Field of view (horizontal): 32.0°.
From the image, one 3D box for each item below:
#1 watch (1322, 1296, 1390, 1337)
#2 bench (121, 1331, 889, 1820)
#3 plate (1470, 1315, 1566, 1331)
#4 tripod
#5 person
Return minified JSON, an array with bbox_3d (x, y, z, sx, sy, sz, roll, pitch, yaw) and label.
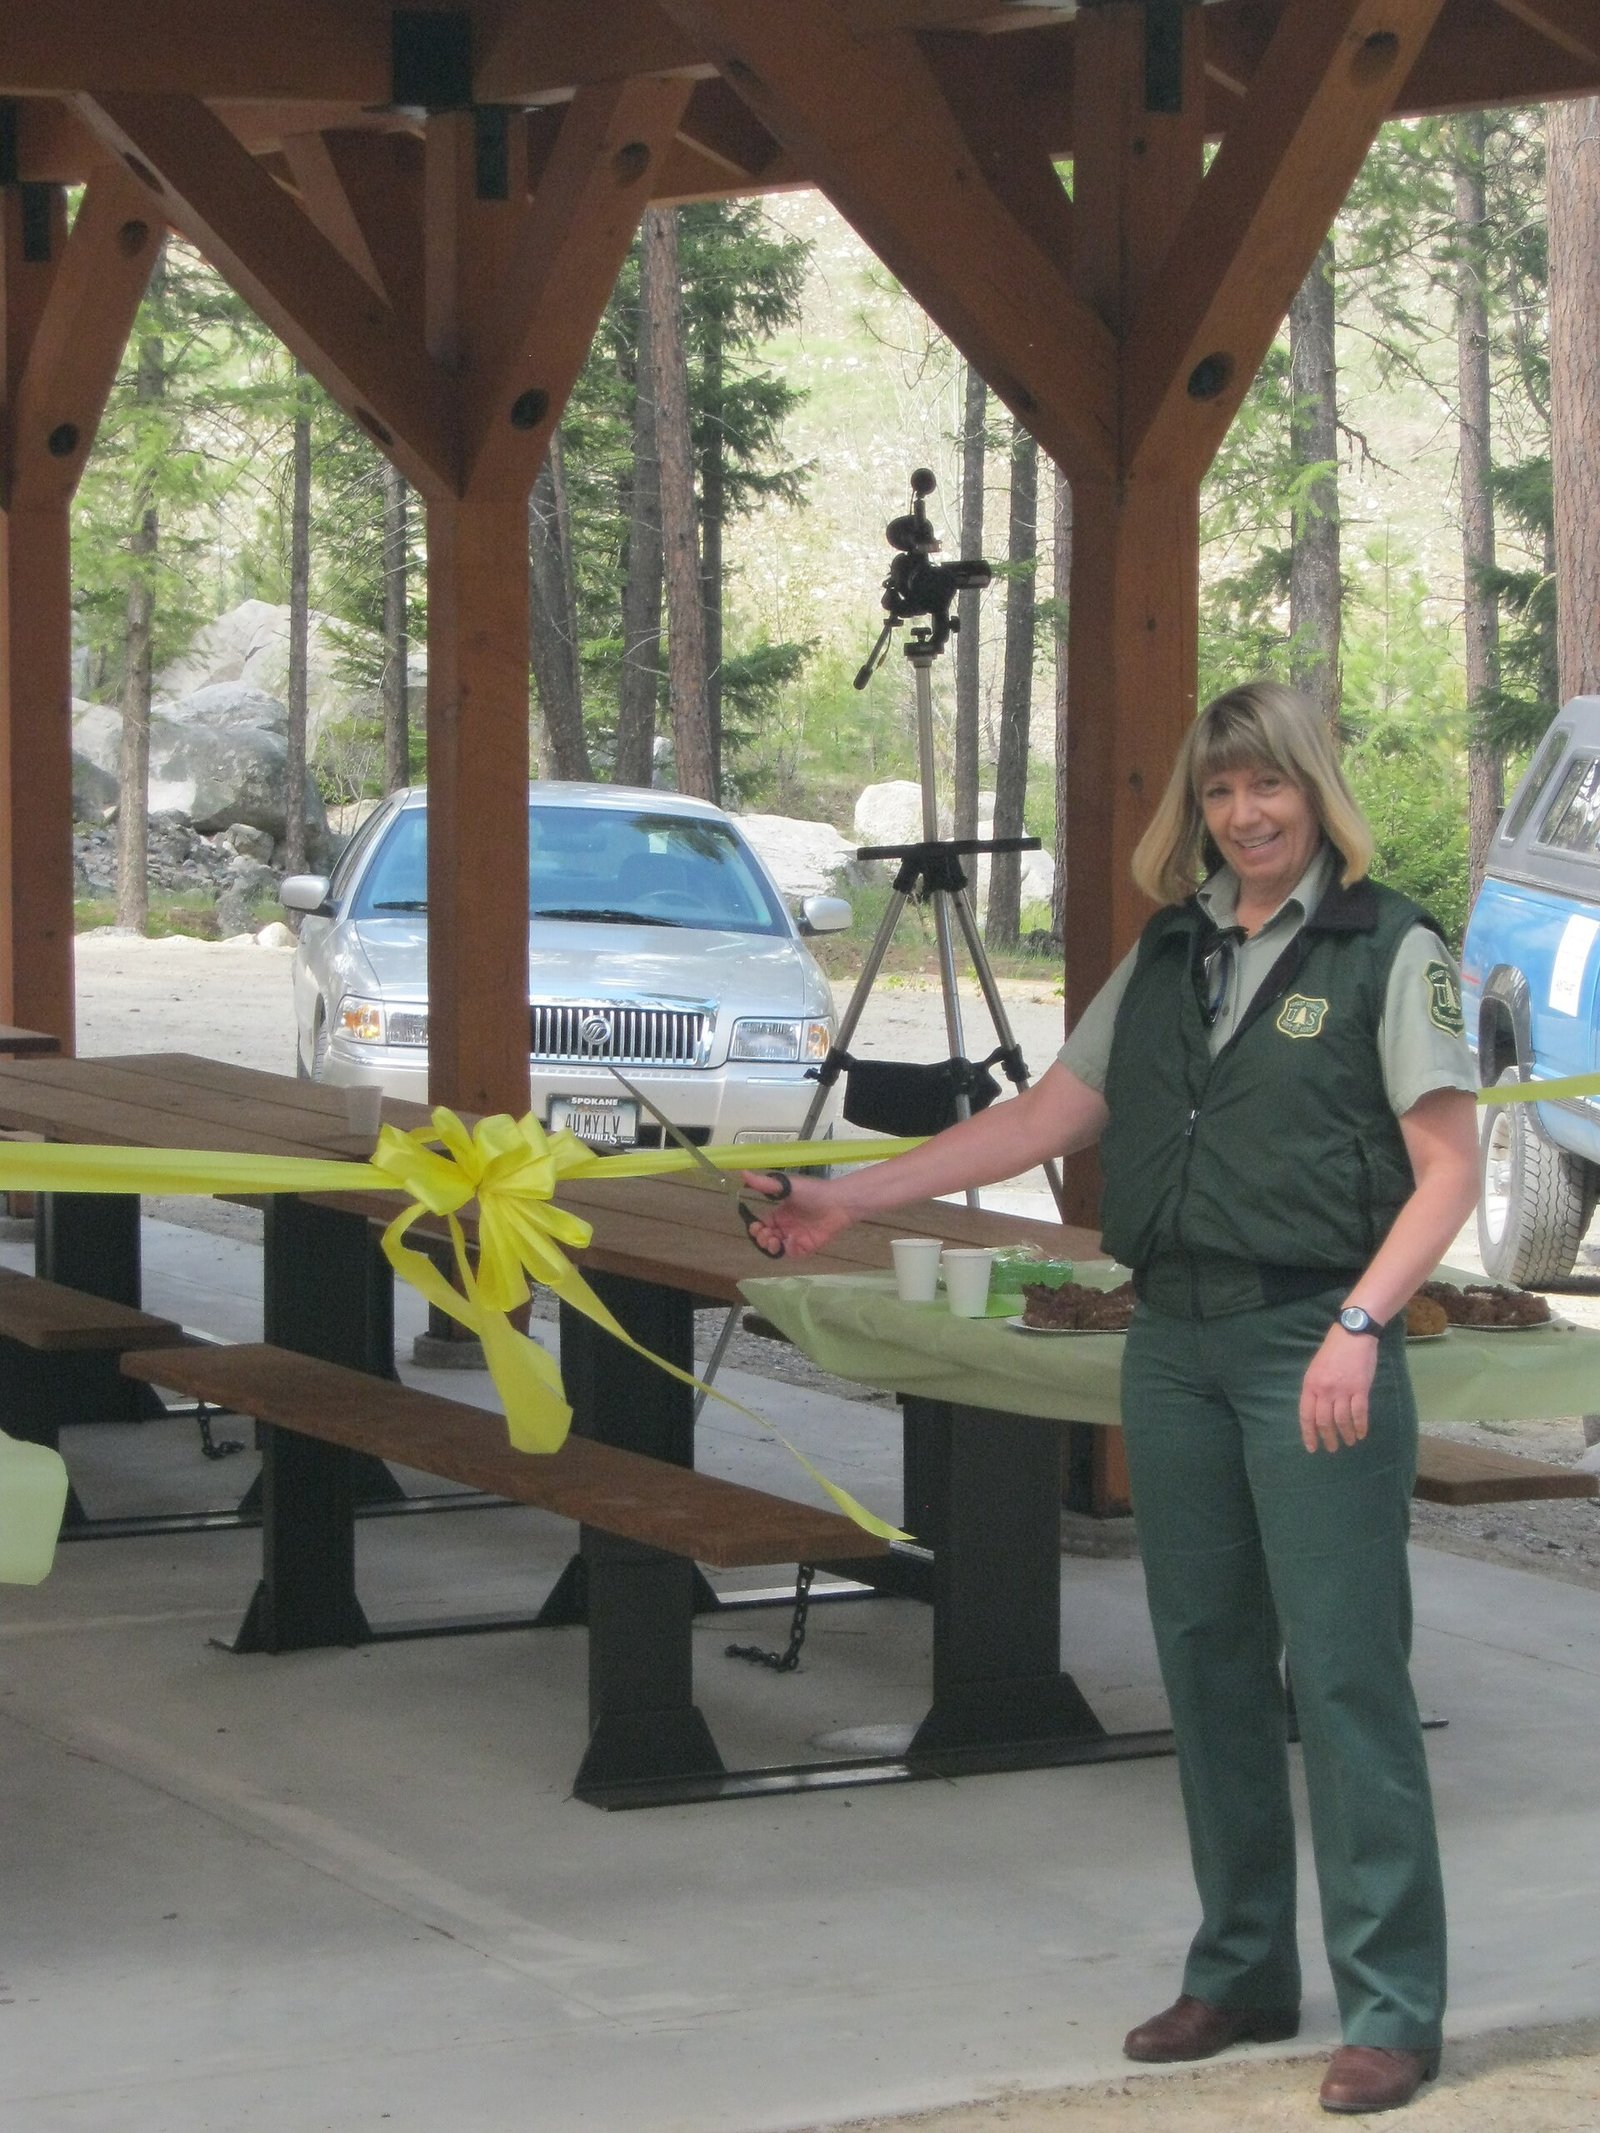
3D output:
[{"bbox_3d":[0.600,0.276,3.043,0.053,0.033,0.053,12,13,-23],"label":"watch"},{"bbox_3d":[-0.477,0.497,4.642,0.589,0.566,2.417,-7,11,-34],"label":"bench"},{"bbox_3d":[1.043,0.373,4.008,0.169,0.020,0.051,-1,4,-30],"label":"plate"},{"bbox_3d":[0.425,0.062,7.184,1.017,2.132,1.084,-8,14,-35],"label":"tripod"},{"bbox_3d":[0.425,0.357,3.175,0.964,1.518,0.521,2,3,32],"label":"person"}]
